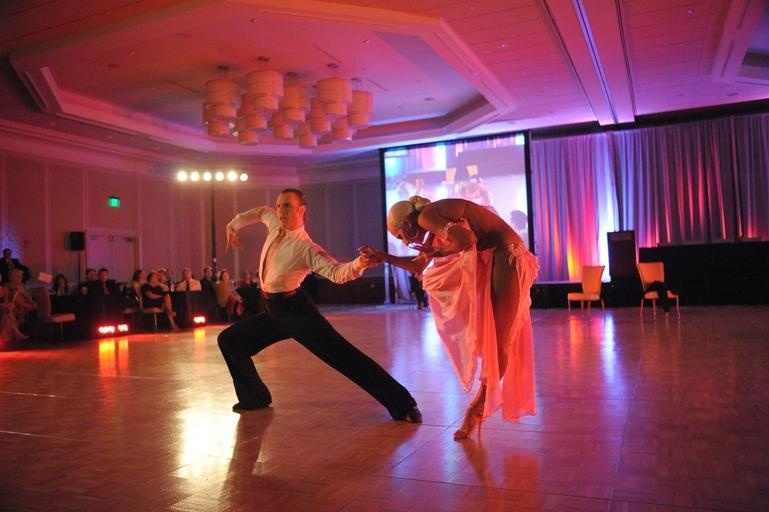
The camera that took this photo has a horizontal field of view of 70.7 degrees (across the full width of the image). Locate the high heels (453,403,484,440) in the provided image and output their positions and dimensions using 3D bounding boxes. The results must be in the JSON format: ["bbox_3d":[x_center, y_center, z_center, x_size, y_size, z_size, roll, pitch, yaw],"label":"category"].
[{"bbox_3d":[0.747,1.414,4.666,0.140,0.221,0.420,-32,-16,26],"label":"high heels"}]

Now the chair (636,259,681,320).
[{"bbox_3d":[6.087,0.676,11.997,0.771,1.221,3.074,0,5,29],"label":"chair"}]

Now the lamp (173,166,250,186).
[{"bbox_3d":[-5.114,-2.381,16.044,1.999,0.557,2.598,-3,4,-16],"label":"lamp"}]

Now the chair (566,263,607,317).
[{"bbox_3d":[4.774,0.772,12.772,0.808,1.191,2.486,0,5,21],"label":"chair"}]

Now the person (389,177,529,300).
[{"bbox_3d":[0.653,-0.151,4.825,1.164,0.992,0.726,-25,-3,13],"label":"person"}]

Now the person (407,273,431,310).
[{"bbox_3d":[0.738,0.828,11.937,0.285,0.403,1.077,3,30,-9],"label":"person"}]

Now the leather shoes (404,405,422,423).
[{"bbox_3d":[0.250,1.444,4.957,0.143,0.077,0.189,0,-2,6],"label":"leather shoes"}]
